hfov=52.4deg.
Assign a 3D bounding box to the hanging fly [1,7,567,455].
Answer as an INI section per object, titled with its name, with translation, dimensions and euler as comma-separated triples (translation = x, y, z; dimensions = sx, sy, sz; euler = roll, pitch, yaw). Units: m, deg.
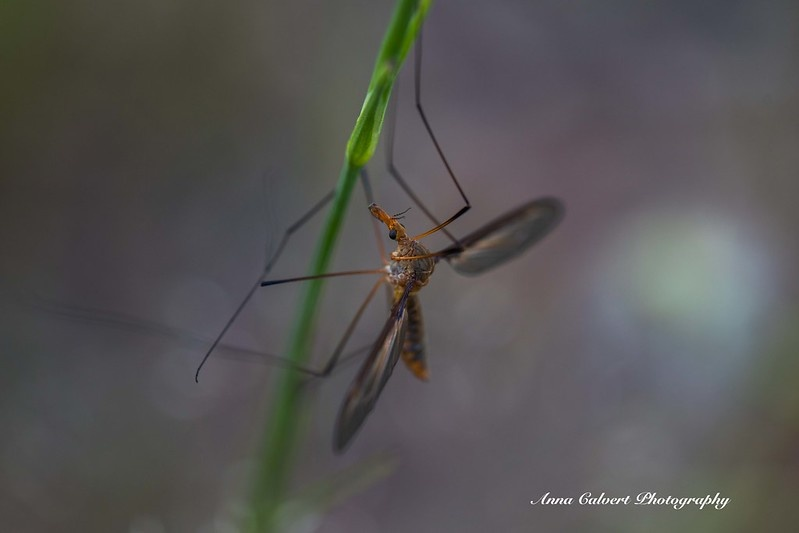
[hanging fly]
translation = -0.115, -0.060, 1.247
dimensions = 0.709, 0.593, 0.333
euler = -34, 37, -19
